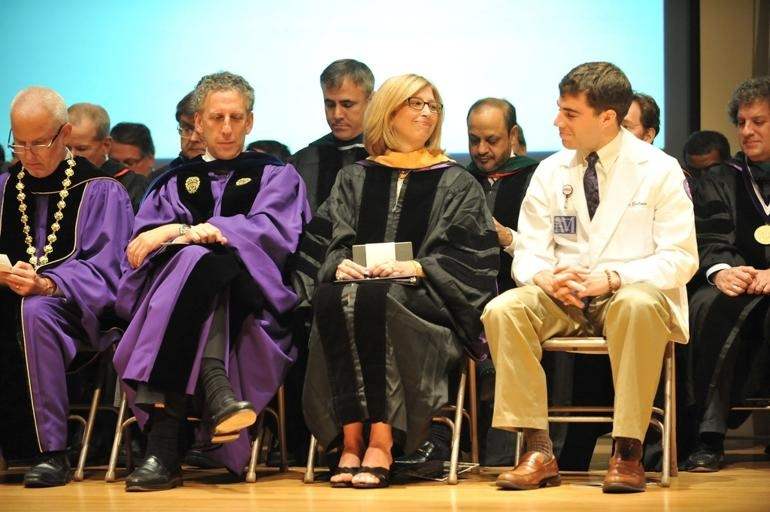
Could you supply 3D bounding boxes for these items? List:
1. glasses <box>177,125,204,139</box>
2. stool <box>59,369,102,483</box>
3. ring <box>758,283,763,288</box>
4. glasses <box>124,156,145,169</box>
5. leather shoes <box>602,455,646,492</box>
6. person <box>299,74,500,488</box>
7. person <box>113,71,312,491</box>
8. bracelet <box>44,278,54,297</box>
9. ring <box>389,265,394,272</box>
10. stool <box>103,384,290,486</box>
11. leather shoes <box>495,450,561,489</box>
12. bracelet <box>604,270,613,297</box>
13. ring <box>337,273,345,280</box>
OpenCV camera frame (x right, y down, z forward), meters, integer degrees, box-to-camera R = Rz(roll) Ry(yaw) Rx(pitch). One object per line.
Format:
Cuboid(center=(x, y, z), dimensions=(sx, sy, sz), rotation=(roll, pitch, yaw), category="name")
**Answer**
Cuboid(center=(-1.379, -0.856, 6.709), dimensions=(0.139, 0.033, 0.134), rotation=(1, -5, 22), category="glasses")
Cuboid(center=(-1.714, 0.976, 5.341), dimensions=(0.204, 0.549, 0.124), rotation=(-2, -22, 25), category="stool")
Cuboid(center=(2.160, 0.173, 5.424), dimensions=(0.022, 0.017, 0.005), rotation=(-5, -40, 13), category="ring")
Cuboid(center=(-1.936, -0.722, 7.333), dimensions=(0.080, 0.075, 0.092), rotation=(-6, -19, -5), category="glasses")
Cuboid(center=(1.226, 1.113, 4.840), dimensions=(0.215, 0.177, 0.140), rotation=(-3, -4, 10), category="leather shoes")
Cuboid(center=(0.080, 0.073, 5.357), dimensions=(1.141, 2.316, 0.692), rotation=(-2, -4, -10), category="person")
Cuboid(center=(-1.005, 0.064, 5.381), dimensions=(1.024, 2.373, 0.940), rotation=(-2, -4, 4), category="person")
Cuboid(center=(-1.916, 0.194, 5.381), dimensions=(0.079, 0.082, 0.048), rotation=(0, 0, -31), category="bracelet")
Cuboid(center=(0.044, 0.069, 5.189), dimensions=(0.030, 0.038, 0.009), rotation=(-2, -3, -4), category="ring")
Cuboid(center=(-1.038, 1.080, 5.485), dimensions=(0.852, 0.643, 0.638), rotation=(1, -19, 1), category="stool")
Cuboid(center=(0.764, 1.122, 4.900), dimensions=(0.397, 0.144, 0.147), rotation=(7, -13, -41), category="leather shoes")
Cuboid(center=(1.222, 0.136, 5.103), dimensions=(0.042, 0.092, 0.079), rotation=(-8, -12, 14), category="bracelet")
Cuboid(center=(-0.245, 0.118, 5.254), dimensions=(0.035, 0.036, 0.015), rotation=(7, -12, 1), category="ring")
